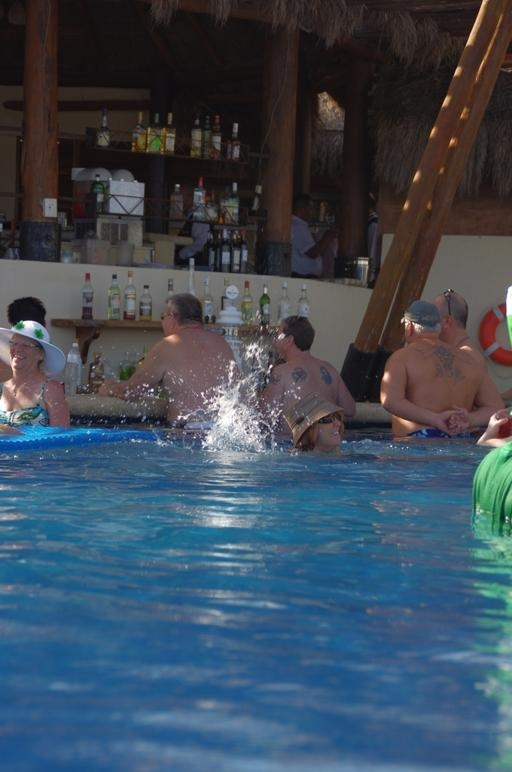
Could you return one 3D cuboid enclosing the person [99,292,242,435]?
[{"bbox_3d":[-0.374,-0.161,4.911,0.720,0.972,0.622,1,6,-31],"label":"person"}]

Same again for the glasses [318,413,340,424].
[{"bbox_3d":[0.309,0.140,3.993,0.057,0.016,0.056,-19,-3,-31],"label":"glasses"}]

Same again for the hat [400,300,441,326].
[{"bbox_3d":[0.860,-0.386,4.985,0.120,0.084,0.161,2,9,-11],"label":"hat"}]

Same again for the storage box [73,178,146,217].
[{"bbox_3d":[-1.084,-1.377,6.958,0.522,0.289,0.387,1,4,-3],"label":"storage box"}]

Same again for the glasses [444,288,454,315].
[{"bbox_3d":[1.056,-0.474,5.228,0.031,0.115,0.110,5,12,2],"label":"glasses"}]

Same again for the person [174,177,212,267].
[{"bbox_3d":[-0.568,-1.488,9.073,0.255,0.882,0.315,25,47,15],"label":"person"}]

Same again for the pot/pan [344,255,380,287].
[{"bbox_3d":[0.979,-1.057,8.826,0.290,0.285,0.551,2,4,8],"label":"pot/pan"}]

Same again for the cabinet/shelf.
[{"bbox_3d":[-1.089,-1.985,10.658,2.034,1.450,1.076,0,0,-6],"label":"cabinet/shelf"}]

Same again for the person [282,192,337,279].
[{"bbox_3d":[0.587,-1.500,9.545,0.416,0.855,1.326,2,4,12],"label":"person"}]

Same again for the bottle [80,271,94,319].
[{"bbox_3d":[-1.084,-0.590,6.163,0.080,0.314,0.276,0,4,-11],"label":"bottle"}]

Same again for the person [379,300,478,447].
[{"bbox_3d":[0.872,-0.081,4.849,0.422,0.708,0.320,2,4,16],"label":"person"}]

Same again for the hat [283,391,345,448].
[{"bbox_3d":[0.152,0.128,4.075,0.277,0.185,0.371,-5,-4,42],"label":"hat"}]

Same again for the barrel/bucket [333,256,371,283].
[{"bbox_3d":[0.887,-1.069,8.665,0.323,0.305,0.173,2,0,37],"label":"barrel/bucket"}]
